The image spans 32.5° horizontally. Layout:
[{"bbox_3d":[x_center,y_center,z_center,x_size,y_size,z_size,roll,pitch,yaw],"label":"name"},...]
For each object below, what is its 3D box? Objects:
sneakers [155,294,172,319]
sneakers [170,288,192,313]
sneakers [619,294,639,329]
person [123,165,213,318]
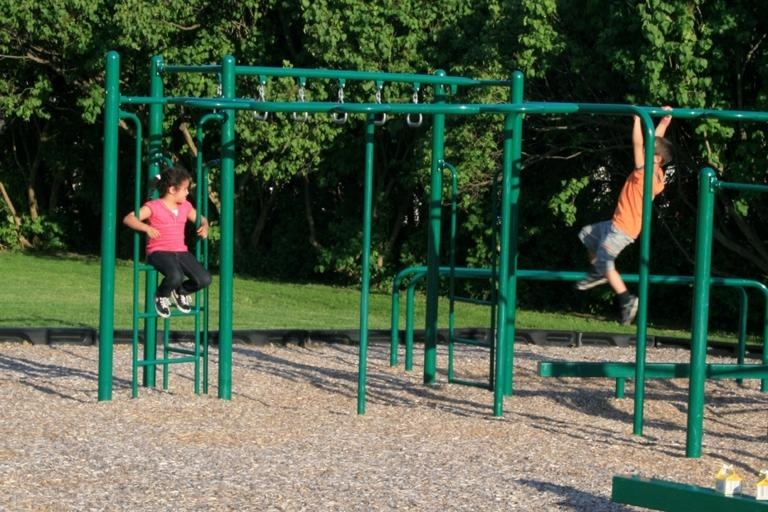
[{"bbox_3d":[-2.972,0.686,17.802,0.131,0.143,0.356,4,34,-32],"label":"sneakers"},{"bbox_3d":[-2.743,0.631,17.910,0.160,0.425,0.163,-27,1,-42],"label":"sneakers"},{"bbox_3d":[3.342,0.754,17.915,0.203,0.478,0.171,-7,21,-21],"label":"sneakers"},{"bbox_3d":[-2.860,-0.162,17.793,1.093,2.030,0.408,3,2,-12],"label":"person"}]
